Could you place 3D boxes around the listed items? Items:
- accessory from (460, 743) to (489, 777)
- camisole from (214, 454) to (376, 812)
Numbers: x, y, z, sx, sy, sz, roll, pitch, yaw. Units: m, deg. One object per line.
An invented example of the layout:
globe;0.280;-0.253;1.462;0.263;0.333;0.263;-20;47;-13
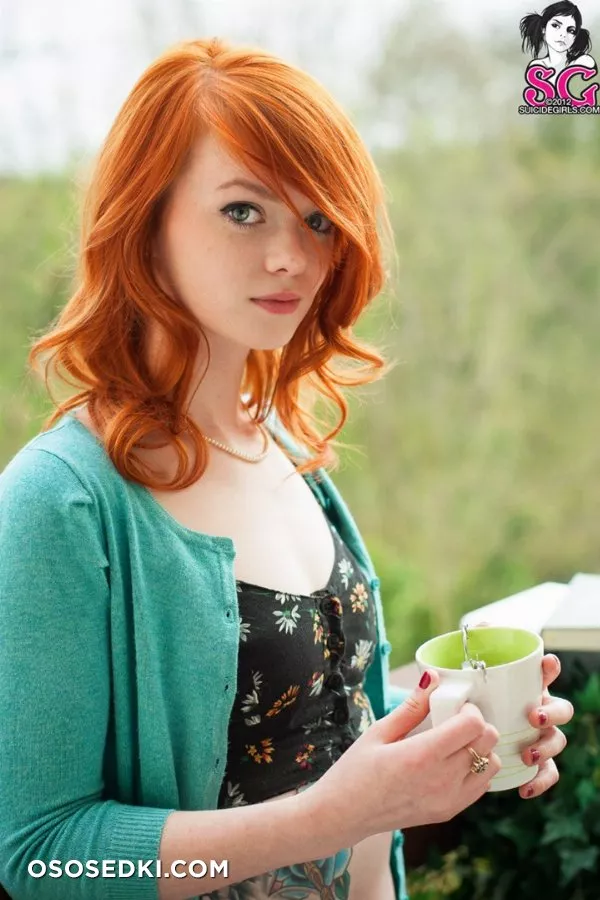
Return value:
accessory;0.162;0.282;0.762;0.022;0.027;0.015;-19;-18;-44
camisole;0.040;0.197;0.988;0.221;0.324;0.291;-7;10;20
